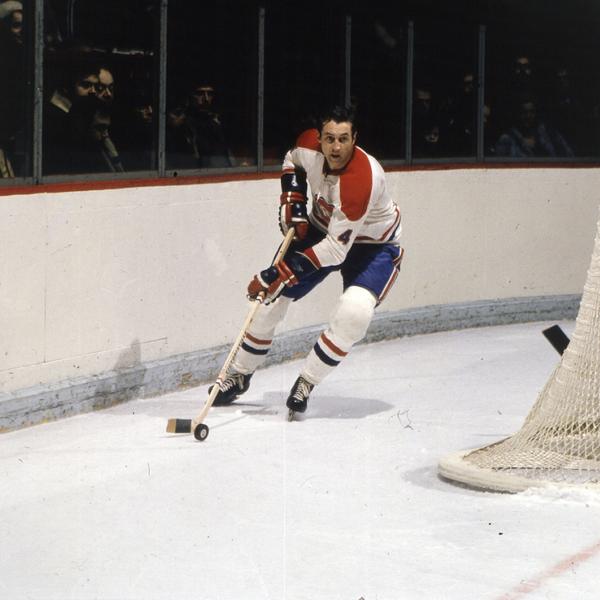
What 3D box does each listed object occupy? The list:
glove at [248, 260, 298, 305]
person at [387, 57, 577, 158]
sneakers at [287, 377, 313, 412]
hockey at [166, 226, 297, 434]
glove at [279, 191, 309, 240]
[{"bbox_3d":[-0.139,-0.081,4.129,0.067,0.185,0.181,41,23,-42],"label":"glove"},{"bbox_3d":[1.465,-1.358,6.679,1.061,0.295,0.735,-4,26,1],"label":"person"},{"bbox_3d":[-0.001,0.425,4.197,0.063,0.087,0.206,34,13,-9],"label":"sneakers"},{"bbox_3d":[-0.373,0.153,4.628,0.166,1.042,0.107,18,-25,15],"label":"hockey"},{"bbox_3d":[-0.035,-0.388,4.397,0.137,0.215,0.086,11,-37,-20],"label":"glove"}]
